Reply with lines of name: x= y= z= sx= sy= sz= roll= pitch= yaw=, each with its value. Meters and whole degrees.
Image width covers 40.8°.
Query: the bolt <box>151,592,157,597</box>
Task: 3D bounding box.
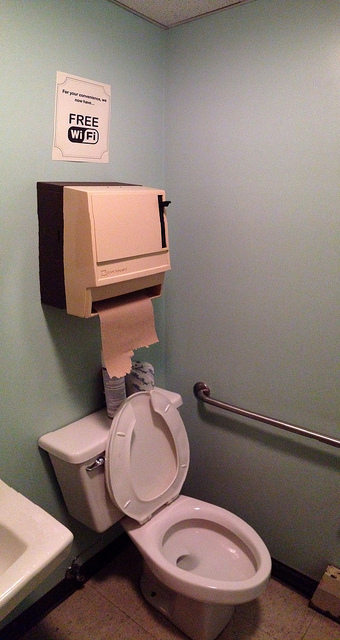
bolt: x=-0.058 y=0.968 z=1.622 sx=0.015 sy=0.004 sz=0.015 roll=4 pitch=-11 yaw=-44

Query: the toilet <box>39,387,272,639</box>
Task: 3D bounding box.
toilet: x=-0.017 y=0.544 z=1.494 sx=0.717 sy=0.585 sz=0.460 roll=7 pitch=13 yaw=29
